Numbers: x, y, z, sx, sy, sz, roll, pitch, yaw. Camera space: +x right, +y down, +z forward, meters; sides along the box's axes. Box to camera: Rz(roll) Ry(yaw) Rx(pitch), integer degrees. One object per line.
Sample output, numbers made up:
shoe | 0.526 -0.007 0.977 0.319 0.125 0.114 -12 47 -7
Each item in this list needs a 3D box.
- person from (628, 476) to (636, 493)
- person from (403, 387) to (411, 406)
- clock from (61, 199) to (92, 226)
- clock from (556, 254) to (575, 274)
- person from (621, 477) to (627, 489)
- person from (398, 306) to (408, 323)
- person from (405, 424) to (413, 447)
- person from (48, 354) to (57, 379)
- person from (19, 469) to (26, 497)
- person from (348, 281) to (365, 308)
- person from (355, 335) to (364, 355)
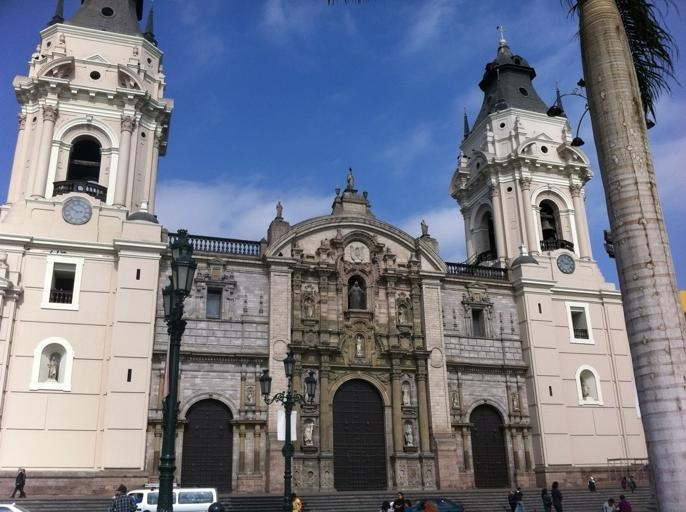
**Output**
person | 15.882 12.609 34.840 0.317 0.785 0.453 16 -32 -20
person | 3.591 7.913 35.615 0.490 0.975 0.148 7 -21 -26
clock | -14.089 -2.261 33.296 1.327 1.627 0.170 8 -34 -29
clock | 14.355 0.560 40.984 1.317 1.363 0.077 2 -25 -20
person | 15.525 12.575 35.001 0.221 0.654 0.808 -10 -21 23
person | 3.505 3.447 37.062 0.569 1.068 0.133 5 -20 -20
person | 3.621 9.861 34.785 0.480 1.220 0.213 -2 -19 -1
person | -14.150 5.409 30.950 0.474 1.415 0.431 6 -21 -23
person | -14.244 10.074 28.052 0.408 1.211 1.249 7 -21 -25
person | 0.765 2.299 36.768 0.534 1.857 0.932 -19 -25 41
person | 0.941 5.060 35.706 0.451 1.223 0.147 8 -21 -27
